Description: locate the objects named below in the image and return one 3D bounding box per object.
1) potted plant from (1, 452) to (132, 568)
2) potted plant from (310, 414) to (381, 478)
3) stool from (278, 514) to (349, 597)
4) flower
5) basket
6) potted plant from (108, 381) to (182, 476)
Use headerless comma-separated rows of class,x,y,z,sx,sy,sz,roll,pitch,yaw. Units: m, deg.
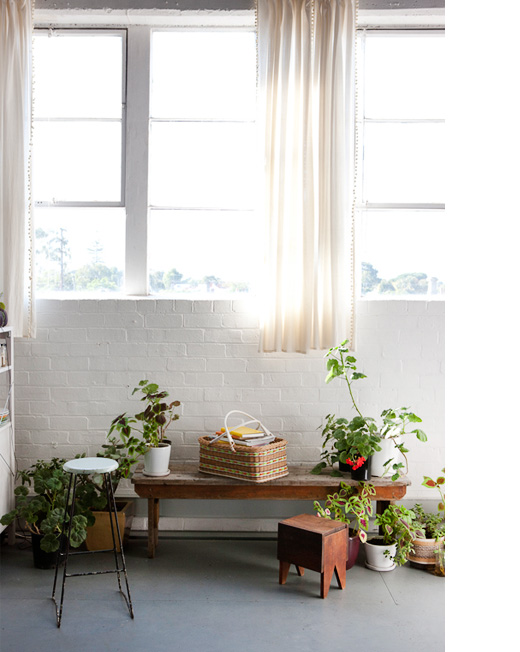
potted plant,-0.896,0.809,3.005,0.633,0.580,0.523,4,-16,-15
potted plant,0.395,0.550,3.134,0.268,0.211,0.331,0,0,-10
stool,0.183,0.922,2.763,0.316,0.322,0.245,1,0,30
flower,0.497,0.401,3.134,0.509,0.545,0.299,-4,2,2
basket,-0.081,0.553,3.098,0.418,0.248,0.287,-2,-1,39
potted plant,-0.569,0.493,3.164,0.331,0.433,0.381,-1,5,35
